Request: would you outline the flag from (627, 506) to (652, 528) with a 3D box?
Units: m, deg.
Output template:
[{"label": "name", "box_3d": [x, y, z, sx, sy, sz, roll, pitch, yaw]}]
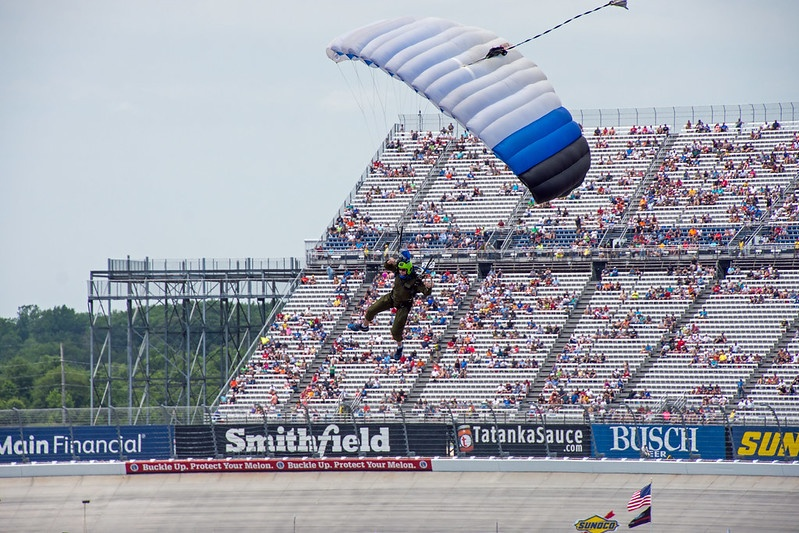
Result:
[{"label": "flag", "box_3d": [9.907, 10.502, 95.670, 1.252, 0.129, 1.220, -5, -54, 11]}]

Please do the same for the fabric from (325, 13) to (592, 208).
[{"label": "fabric", "box_3d": [3.407, -7.558, 98.419, 7.256, 13.788, 3.267, -32, -20, -51]}]

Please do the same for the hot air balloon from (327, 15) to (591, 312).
[{"label": "hot air balloon", "box_3d": [3.570, -5.810, 99.087, 7.251, 13.796, 3.269, -35, -17, -51]}]

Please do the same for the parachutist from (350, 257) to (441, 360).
[{"label": "parachutist", "box_3d": [-0.202, 1.533, 93.692, 1.831, 2.475, 4.166, -4, -60, -63]}]
